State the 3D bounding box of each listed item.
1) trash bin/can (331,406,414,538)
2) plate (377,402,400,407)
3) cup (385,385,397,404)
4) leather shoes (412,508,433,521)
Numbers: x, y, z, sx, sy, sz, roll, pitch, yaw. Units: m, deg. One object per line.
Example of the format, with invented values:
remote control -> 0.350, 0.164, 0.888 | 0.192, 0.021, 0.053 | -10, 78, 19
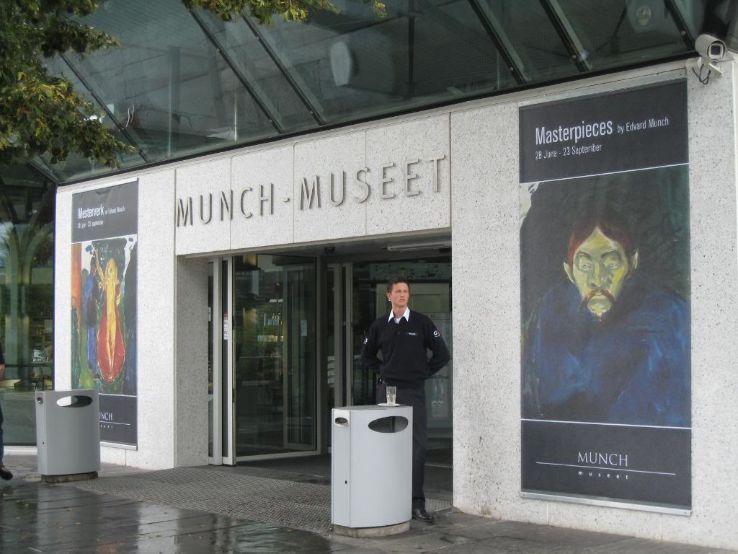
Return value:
trash bin/can -> 0.033, 2.011, 9.561 | 0.826, 1.322, 0.412 | 0, -6, -1
plate -> 0.213, 1.373, 9.852 | 0.245, 0.036, 0.419 | 0, -7, 1
cup -> 0.243, 1.287, 10.026 | 0.113, 0.196, 0.329 | 0, -7, 0
leather shoes -> 0.581, 2.613, 10.114 | 0.234, 0.102, 0.101 | -1, -3, 39
